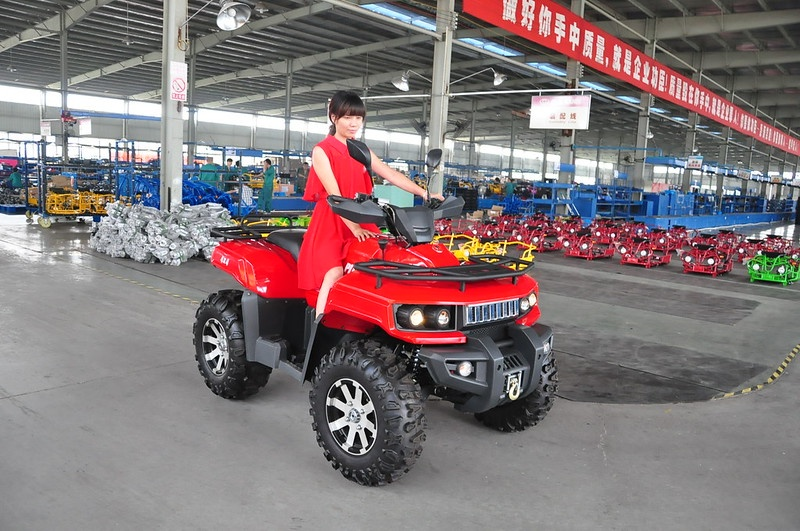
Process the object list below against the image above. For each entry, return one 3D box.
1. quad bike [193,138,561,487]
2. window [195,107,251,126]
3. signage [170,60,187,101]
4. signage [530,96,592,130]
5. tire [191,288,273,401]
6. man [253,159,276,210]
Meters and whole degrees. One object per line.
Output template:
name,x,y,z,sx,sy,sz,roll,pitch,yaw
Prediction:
quad bike,-0.222,0.253,4.069,2.455,2.317,1.243,13,16,34
window,-13.432,-11.354,40.726,1.317,0.927,4.334,11,13,30
signage,-4.463,-3.721,10.633,0.221,0.785,0.375,17,18,38
signage,4.971,-4.702,16.258,0.237,1.063,2.162,-18,24,-31
tire,-1.407,0.692,4.491,0.336,0.775,0.858,-4,33,-47
man,-4.476,-2.676,17.794,0.803,1.710,0.848,3,10,-22
